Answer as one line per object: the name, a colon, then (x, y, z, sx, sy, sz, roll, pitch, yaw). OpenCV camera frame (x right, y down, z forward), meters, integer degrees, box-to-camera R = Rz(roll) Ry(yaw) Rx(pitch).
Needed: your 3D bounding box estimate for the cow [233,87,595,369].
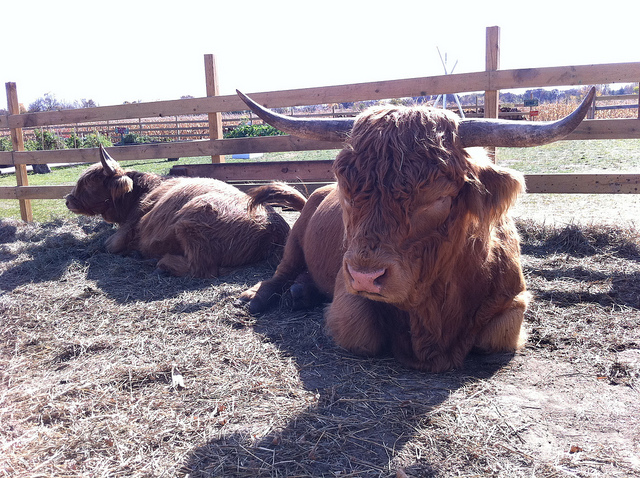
cow: (0.676, -0.038, 5.237, 1.692, 1.669, 3.182, 0, 2, 4)

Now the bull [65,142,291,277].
bull: (-1.779, -0.191, 7.221, 2.754, 1.247, 1.491, 11, -6, 15)
